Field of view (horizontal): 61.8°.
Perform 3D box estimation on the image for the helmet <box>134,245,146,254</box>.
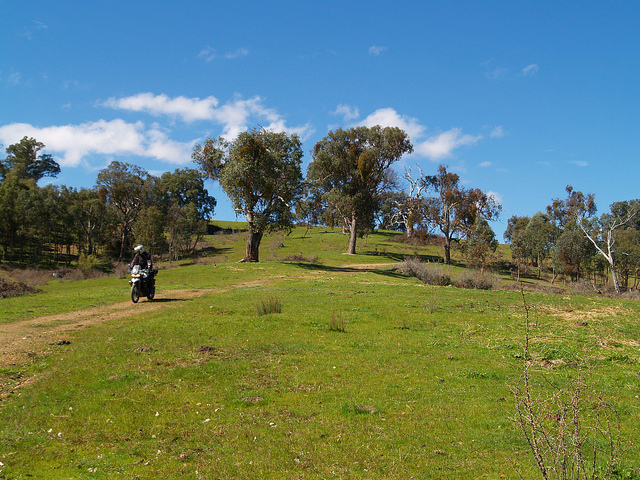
[{"bbox_3d":[-10.520,0.528,31.218,0.603,0.521,0.461,-15,3,25],"label":"helmet"}]
